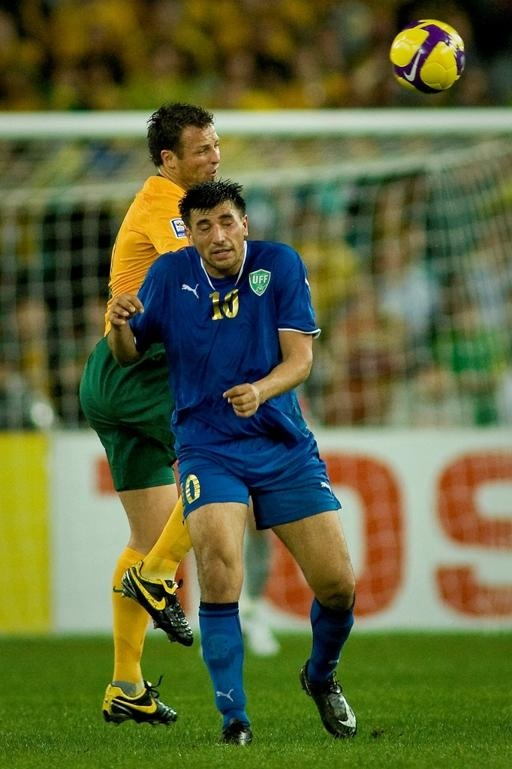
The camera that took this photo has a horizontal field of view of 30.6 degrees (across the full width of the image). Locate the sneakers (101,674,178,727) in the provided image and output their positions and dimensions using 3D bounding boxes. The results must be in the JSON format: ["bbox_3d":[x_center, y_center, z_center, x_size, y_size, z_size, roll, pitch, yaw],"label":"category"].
[{"bbox_3d":[-0.395,1.087,3.208,0.327,0.173,0.114,5,-8,-20],"label":"sneakers"}]

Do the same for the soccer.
[{"bbox_3d":[0.730,-1.373,3.906,0.269,0.302,0.246,-6,8,-6],"label":"soccer"}]

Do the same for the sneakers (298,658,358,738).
[{"bbox_3d":[0.221,0.986,2.911,0.097,0.108,0.251,-13,54,-42],"label":"sneakers"}]

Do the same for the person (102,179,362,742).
[{"bbox_3d":[-0.024,0.254,2.721,0.532,1.679,0.561,-8,8,-11],"label":"person"}]
